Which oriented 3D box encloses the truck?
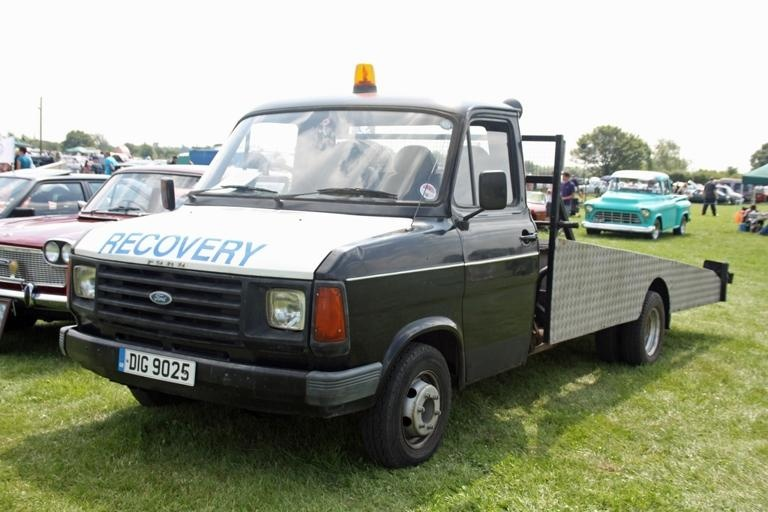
[{"bbox_3d":[0.415,0.145,5.684,2.741,2.237,5.437,3,4,42],"label":"truck"}]
